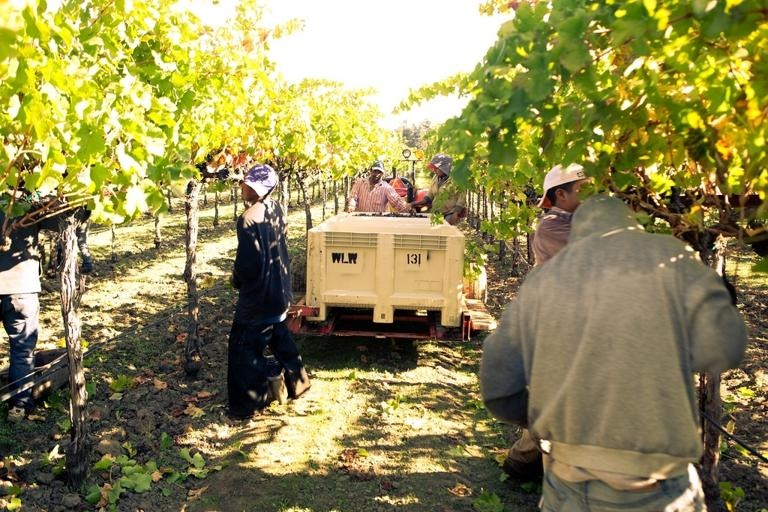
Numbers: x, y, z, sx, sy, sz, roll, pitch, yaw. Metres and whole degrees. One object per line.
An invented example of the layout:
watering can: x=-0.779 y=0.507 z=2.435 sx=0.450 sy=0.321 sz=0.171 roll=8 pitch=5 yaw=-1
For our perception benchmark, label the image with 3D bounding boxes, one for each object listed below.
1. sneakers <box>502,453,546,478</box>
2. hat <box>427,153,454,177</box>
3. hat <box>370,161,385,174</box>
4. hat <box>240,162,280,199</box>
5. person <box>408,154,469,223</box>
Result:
sneakers: x=1.227 y=1.904 z=5.066 sx=0.365 sy=0.162 sz=0.279 roll=-12 pitch=-34 yaw=23
hat: x=0.835 y=-1.366 z=8.524 sx=0.290 sy=0.295 sz=0.402 roll=2 pitch=13 yaw=-3
hat: x=-0.128 y=-1.604 z=10.219 sx=0.216 sy=0.198 sz=0.367 roll=2 pitch=13 yaw=0
hat: x=-1.338 y=-0.855 z=6.058 sx=0.287 sy=0.205 sz=0.388 roll=19 pitch=23 yaw=-32
person: x=0.883 y=-0.788 z=9.057 sx=0.789 sy=1.596 sz=0.676 roll=6 pitch=9 yaw=34
